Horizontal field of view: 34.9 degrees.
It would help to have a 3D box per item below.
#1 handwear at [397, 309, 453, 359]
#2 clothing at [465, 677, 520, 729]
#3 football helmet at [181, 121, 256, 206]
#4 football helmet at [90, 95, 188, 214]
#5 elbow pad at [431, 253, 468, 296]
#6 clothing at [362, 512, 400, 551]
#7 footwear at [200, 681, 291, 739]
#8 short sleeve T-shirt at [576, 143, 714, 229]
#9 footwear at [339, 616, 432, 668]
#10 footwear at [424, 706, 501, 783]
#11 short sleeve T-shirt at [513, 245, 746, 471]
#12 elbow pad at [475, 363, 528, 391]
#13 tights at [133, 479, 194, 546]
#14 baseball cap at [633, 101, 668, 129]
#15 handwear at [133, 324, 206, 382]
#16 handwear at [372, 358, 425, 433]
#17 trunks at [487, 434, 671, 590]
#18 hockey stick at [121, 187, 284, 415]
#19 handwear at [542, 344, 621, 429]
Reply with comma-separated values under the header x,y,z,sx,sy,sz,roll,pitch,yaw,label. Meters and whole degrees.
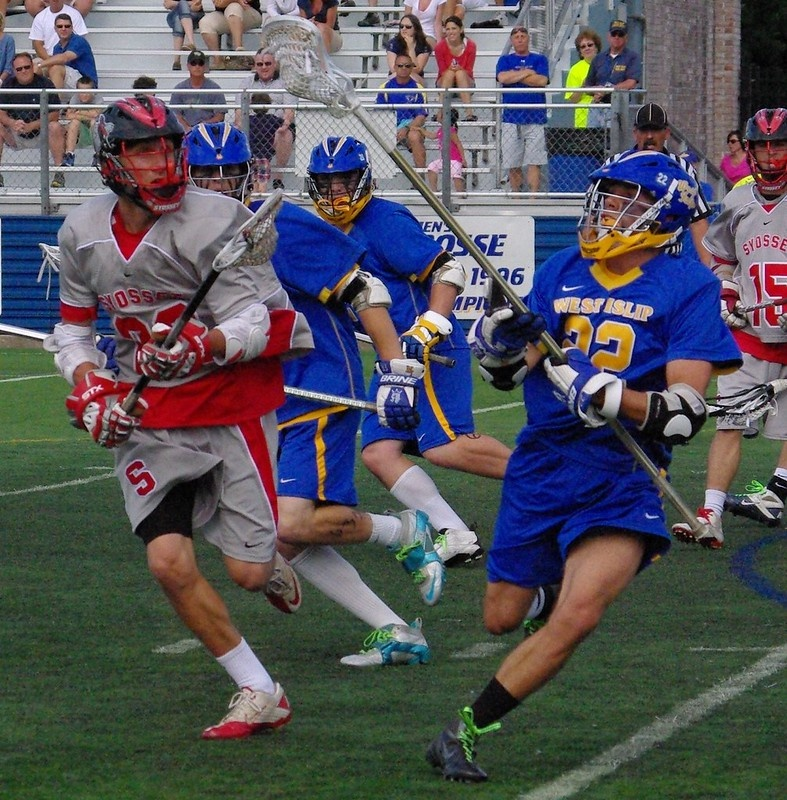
x,y,z,sx,sy,sz,roll,pitch,yaw,label
0.117,-0.254,4.637,0.230,0.135,0.100,-38,-1,-36,handwear
0.264,0.814,3.394,0.157,0.113,0.071,-39,9,-15,clothing
-0.701,-0.941,4.727,0.309,0.281,0.350,-6,22,-24,football helmet
-0.743,-0.742,3.673,0.273,0.296,0.343,-13,18,-27,football helmet
0.215,-0.511,4.926,0.170,0.139,0.121,-16,-17,16,elbow pad
-0.029,0.500,4.778,0.169,0.088,0.115,6,6,1,clothing
-0.443,0.922,3.696,0.118,0.125,0.333,0,0,38,footwear
0.742,-0.650,3.746,0.383,0.225,0.255,-1,21,-25,short sleeve T-shirt
-0.010,0.869,4.456,0.394,0.137,0.121,-2,-3,-3,footwear
0.178,0.927,3.366,0.191,0.192,0.096,1,9,4,footwear
0.717,-0.137,3.782,0.413,0.655,0.894,2,2,-38,short sleeve T-shirt
0.321,-0.076,3.731,0.104,0.075,0.111,0,2,1,elbow pad
-0.650,0.325,3.654,0.206,0.166,0.148,-4,10,-25,tights
1.756,-1.978,8.553,0.179,0.126,0.249,2,18,15,baseball cap
-0.626,-0.136,3.478,0.170,0.088,0.205,12,27,31,handwear
0.012,-0.031,4.322,0.221,0.222,0.102,1,-5,6,handwear
0.577,0.331,3.677,0.620,0.447,0.298,-3,-9,27,trunks
-0.442,-0.368,3.438,0.353,0.431,0.169,-7,12,-37,hockey stick
0.530,-0.033,3.519,0.176,0.217,0.310,-1,9,-7,handwear
